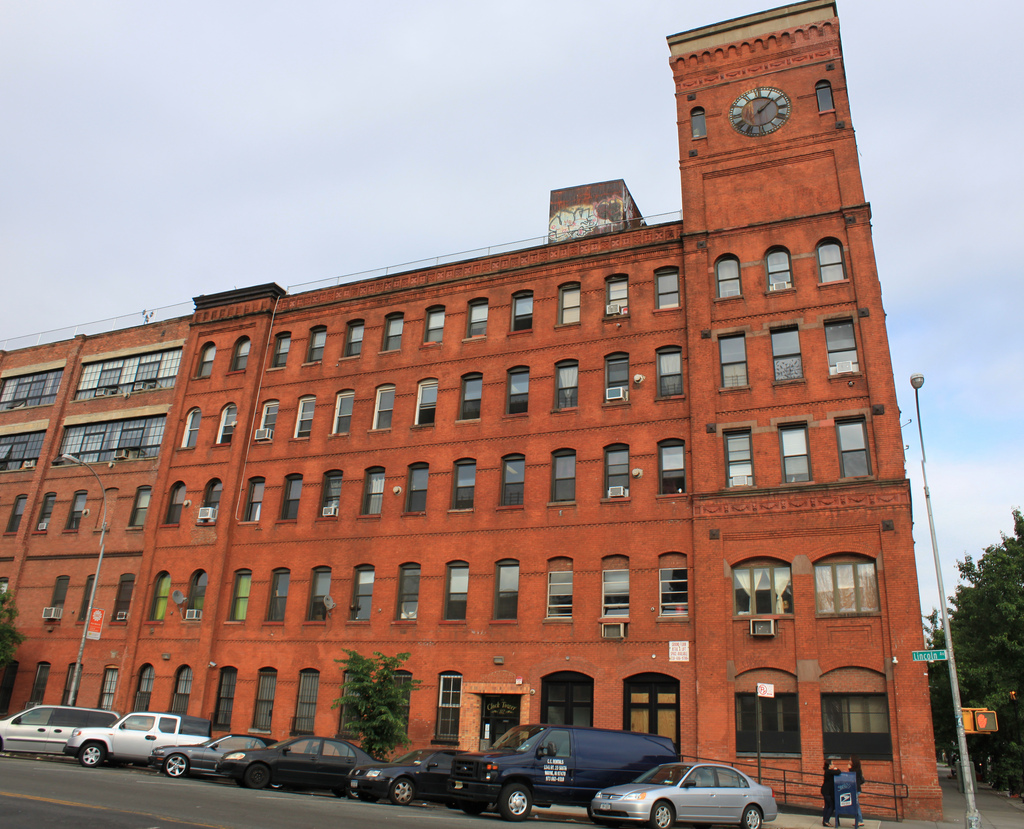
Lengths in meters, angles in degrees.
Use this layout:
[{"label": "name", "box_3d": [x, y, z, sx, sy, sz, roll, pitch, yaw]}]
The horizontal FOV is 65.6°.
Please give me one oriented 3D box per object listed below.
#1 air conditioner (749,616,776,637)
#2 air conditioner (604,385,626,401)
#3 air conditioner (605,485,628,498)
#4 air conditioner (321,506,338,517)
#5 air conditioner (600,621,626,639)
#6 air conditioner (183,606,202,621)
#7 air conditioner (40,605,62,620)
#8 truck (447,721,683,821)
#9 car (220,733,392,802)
[{"label": "air conditioner", "box_3d": [8.461, 7.120, 27.040, 1.244, 0.731, 0.608, 0, 1, 6]}, {"label": "air conditioner", "box_3d": [4.191, -0.814, 31.982, 1.081, 0.661, 0.573, 0, -1, 29]}, {"label": "air conditioner", "box_3d": [4.028, 2.957, 30.554, 0.749, 0.401, 0.453, -3, -9, 21]}, {"label": "air conditioner", "box_3d": [-8.078, 4.271, 35.385, 0.508, 0.525, 0.872, 2, -6, -23]}, {"label": "air conditioner", "box_3d": [3.738, 7.894, 29.267, 1.090, 0.901, 0.558, 1, -30, 3]}, {"label": "air conditioner", "box_3d": [-14.402, 9.075, 35.943, 0.913, 0.493, 0.442, -4, -26, 3]}, {"label": "air conditioner", "box_3d": [-22.929, 9.828, 39.664, 0.731, 0.553, 0.331, 6, -33, -1]}, {"label": "truck", "box_3d": [1.058, 9.226, 21.091, 5.225, 1.652, 2.489, 12, -24, -28]}, {"label": "car", "box_3d": [-6.027, 10.634, 24.334, 5.392, 1.585, 2.127, -5, -16, 18]}]
